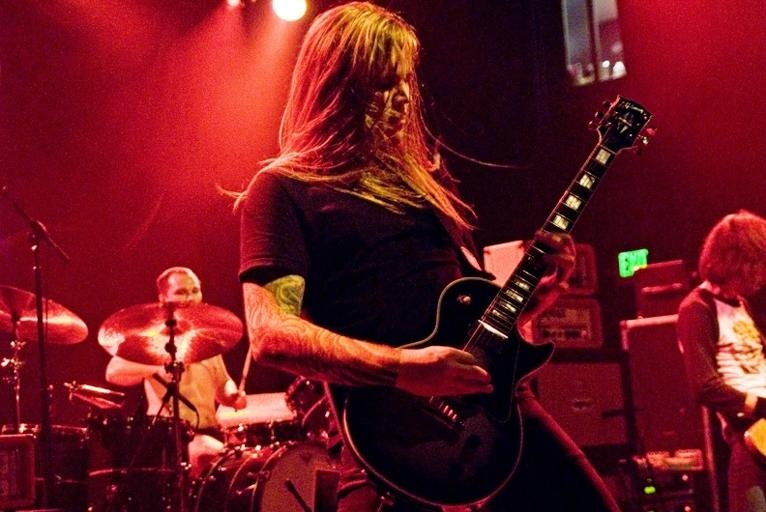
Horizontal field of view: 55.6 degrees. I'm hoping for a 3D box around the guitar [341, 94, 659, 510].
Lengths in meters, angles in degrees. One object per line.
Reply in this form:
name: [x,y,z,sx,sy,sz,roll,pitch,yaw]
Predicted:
guitar: [0.718,0.232,4.005,0.947,2.421,0.251,41,-28,-11]
